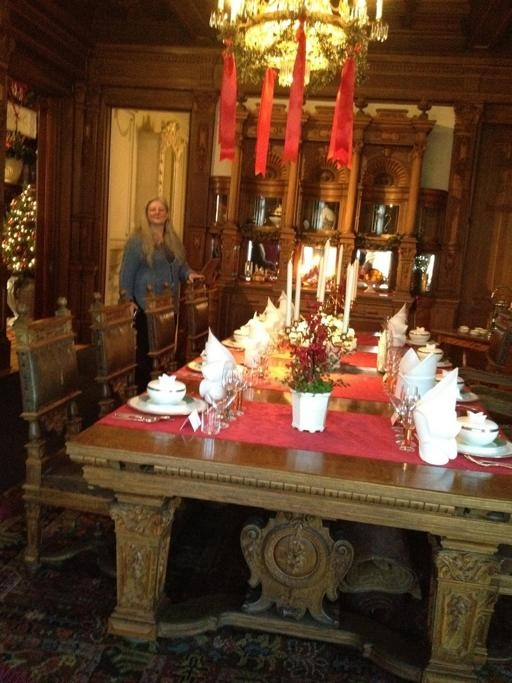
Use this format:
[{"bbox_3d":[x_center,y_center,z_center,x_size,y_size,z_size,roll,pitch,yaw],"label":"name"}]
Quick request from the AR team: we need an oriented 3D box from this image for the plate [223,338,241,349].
[{"bbox_3d":[-0.156,0.022,3.188,0.075,0.016,0.076,12,22,10],"label":"plate"}]

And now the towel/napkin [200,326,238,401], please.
[{"bbox_3d":[-0.123,0.087,1.618,0.128,0.234,0.123,6,11,36],"label":"towel/napkin"}]

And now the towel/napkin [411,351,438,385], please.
[{"bbox_3d":[0.576,0.086,1.738,0.106,0.107,0.148,4,5,7],"label":"towel/napkin"}]

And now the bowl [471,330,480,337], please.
[{"bbox_3d":[2.139,-0.085,5.003,0.071,0.038,0.070,-2,6,0],"label":"bowl"}]

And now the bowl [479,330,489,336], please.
[{"bbox_3d":[2.218,-0.080,4.981,0.069,0.056,0.068,0,5,0],"label":"bowl"}]

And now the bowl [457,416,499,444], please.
[{"bbox_3d":[0.672,0.259,1.550,0.107,0.066,0.115,1,1,0],"label":"bowl"}]

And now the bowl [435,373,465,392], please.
[{"bbox_3d":[0.669,0.143,1.775,0.110,0.058,0.109,-2,8,0],"label":"bowl"}]

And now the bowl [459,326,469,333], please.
[{"bbox_3d":[2.080,-0.123,5.130,0.083,0.048,0.082,-1,5,0],"label":"bowl"}]

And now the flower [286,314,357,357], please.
[{"bbox_3d":[0.315,-0.041,2.587,0.316,0.192,0.252,10,-1,18],"label":"flower"}]

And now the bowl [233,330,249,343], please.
[{"bbox_3d":[-0.105,-0.035,3.156,0.096,0.066,0.095,0,-1,0],"label":"bowl"}]

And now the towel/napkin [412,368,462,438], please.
[{"bbox_3d":[0.491,0.168,1.357,0.141,0.199,0.078,8,32,21],"label":"towel/napkin"}]

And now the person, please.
[{"bbox_3d":[-0.763,-0.396,4.239,0.585,1.552,0.439,-15,38,-24],"label":"person"}]

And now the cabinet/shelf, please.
[{"bbox_3d":[0.944,-1.729,5.864,2.823,2.602,0.647,3,11,7],"label":"cabinet/shelf"}]

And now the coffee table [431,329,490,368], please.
[{"bbox_3d":[2.057,0.021,5.112,0.470,0.560,0.602,3,9,9],"label":"coffee table"}]

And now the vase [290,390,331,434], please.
[{"bbox_3d":[0.170,0.215,1.593,0.133,0.114,0.131,2,3,6],"label":"vase"}]
